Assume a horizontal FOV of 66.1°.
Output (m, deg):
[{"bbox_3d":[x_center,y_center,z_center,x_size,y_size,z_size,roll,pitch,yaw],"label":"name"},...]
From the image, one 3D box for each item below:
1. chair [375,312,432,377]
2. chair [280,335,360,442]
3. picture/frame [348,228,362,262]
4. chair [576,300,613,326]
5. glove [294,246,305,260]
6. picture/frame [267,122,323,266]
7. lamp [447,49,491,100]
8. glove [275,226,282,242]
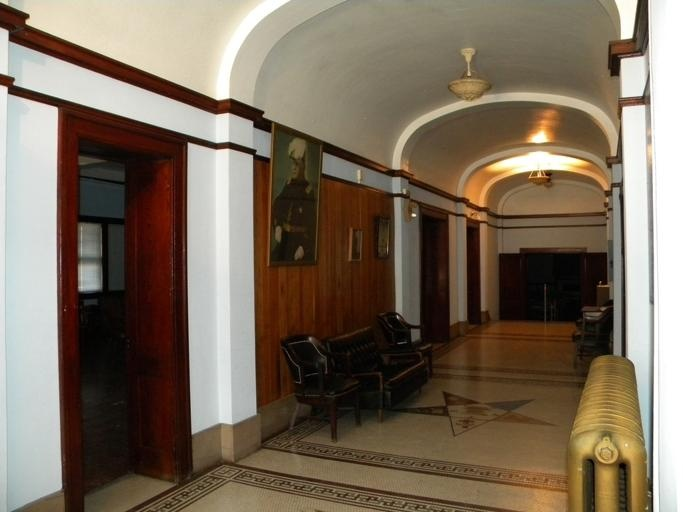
[{"bbox_3d":[1.076,1.581,9.428,1.084,1.463,1.024,-3,-4,26],"label":"chair"},{"bbox_3d":[-0.186,1.665,7.092,1.144,1.472,1.051,-2,-3,27],"label":"chair"},{"bbox_3d":[0.213,-0.204,8.943,0.068,0.581,0.545,-1,-1,20],"label":"picture/frame"},{"bbox_3d":[6.120,1.357,12.689,0.924,0.824,1.320,-2,0,26],"label":"chair"},{"bbox_3d":[-0.600,-0.046,7.426,0.036,0.163,0.160,12,-34,20],"label":"glove"},{"bbox_3d":[-0.627,-0.813,7.294,0.180,1.853,1.156,0,1,26],"label":"picture/frame"},{"bbox_3d":[1.805,-2.558,7.467,0.583,0.747,0.608,-1,2,-7],"label":"lamp"},{"bbox_3d":[-0.843,-0.303,6.964,0.023,0.204,0.132,0,1,22],"label":"glove"}]
